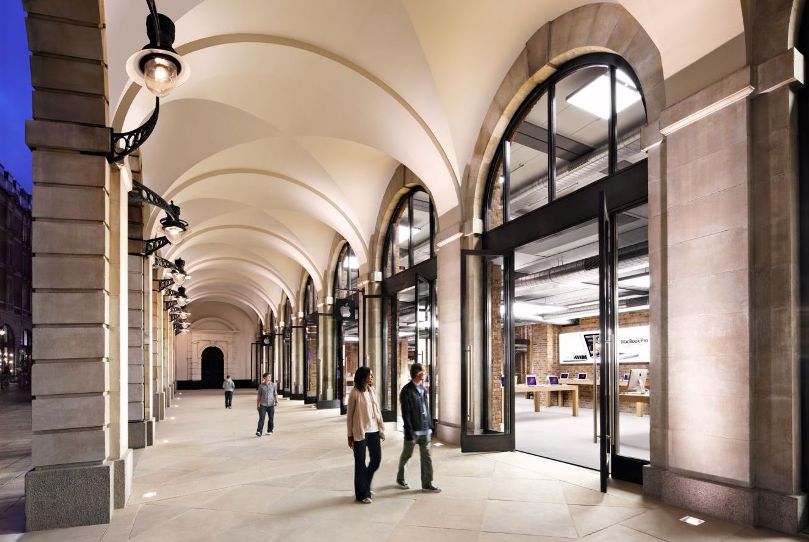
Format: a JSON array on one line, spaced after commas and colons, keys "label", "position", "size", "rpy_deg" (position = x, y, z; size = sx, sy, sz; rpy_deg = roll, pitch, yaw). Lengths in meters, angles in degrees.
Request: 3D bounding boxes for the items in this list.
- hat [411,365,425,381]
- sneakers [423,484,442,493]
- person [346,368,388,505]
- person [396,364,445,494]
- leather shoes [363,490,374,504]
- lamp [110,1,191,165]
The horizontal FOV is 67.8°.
[{"label": "hat", "position": [0.235, 1.651, 9.644], "size": [0.221, 0.216, 0.272], "rpy_deg": [-4, -42, 10]}, {"label": "sneakers", "position": [0.437, 3.398, 9.374], "size": [0.305, 0.182, 0.108], "rpy_deg": [-1, -10, 2]}, {"label": "person", "position": [-0.564, 2.494, 9.200], "size": [0.479, 2.020, 0.629], "rpy_deg": [-6, -15, 28]}, {"label": "person", "position": [0.234, 2.505, 9.755], "size": [0.656, 2.045, 0.859], "rpy_deg": [1, -13, -1]}, {"label": "leather shoes", "position": [-0.493, 3.408, 9.043], "size": [0.151, 0.171, 0.303], "rpy_deg": [-4, -15, 19]}, {"label": "lamp", "position": [-3.445, -3.110, 8.352], "size": [0.708, 2.566, 2.358], "rpy_deg": [8, -16, -27]}]
